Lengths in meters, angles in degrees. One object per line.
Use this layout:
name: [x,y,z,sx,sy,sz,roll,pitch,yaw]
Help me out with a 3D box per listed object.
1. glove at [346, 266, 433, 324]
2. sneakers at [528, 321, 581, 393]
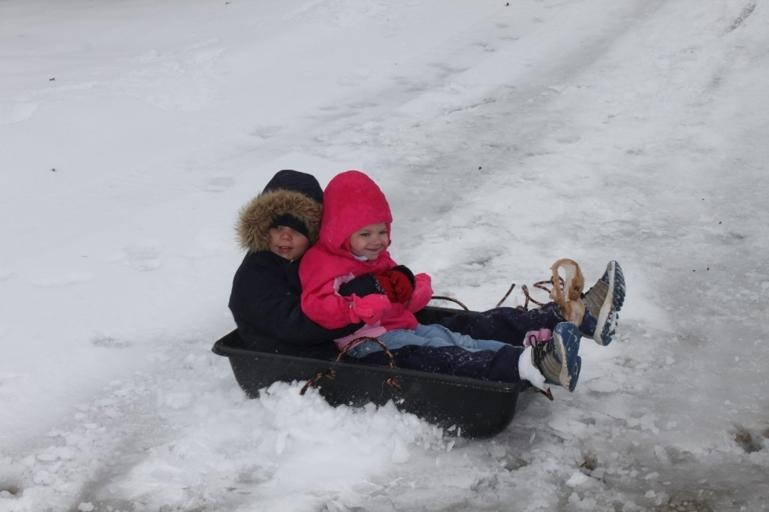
glove: [0.024,0.294,5.630,0.530,0.233,0.364,13,44,0]
sneakers: [1.114,0.691,5.228,0.199,0.538,0.250,-33,58,-24]
